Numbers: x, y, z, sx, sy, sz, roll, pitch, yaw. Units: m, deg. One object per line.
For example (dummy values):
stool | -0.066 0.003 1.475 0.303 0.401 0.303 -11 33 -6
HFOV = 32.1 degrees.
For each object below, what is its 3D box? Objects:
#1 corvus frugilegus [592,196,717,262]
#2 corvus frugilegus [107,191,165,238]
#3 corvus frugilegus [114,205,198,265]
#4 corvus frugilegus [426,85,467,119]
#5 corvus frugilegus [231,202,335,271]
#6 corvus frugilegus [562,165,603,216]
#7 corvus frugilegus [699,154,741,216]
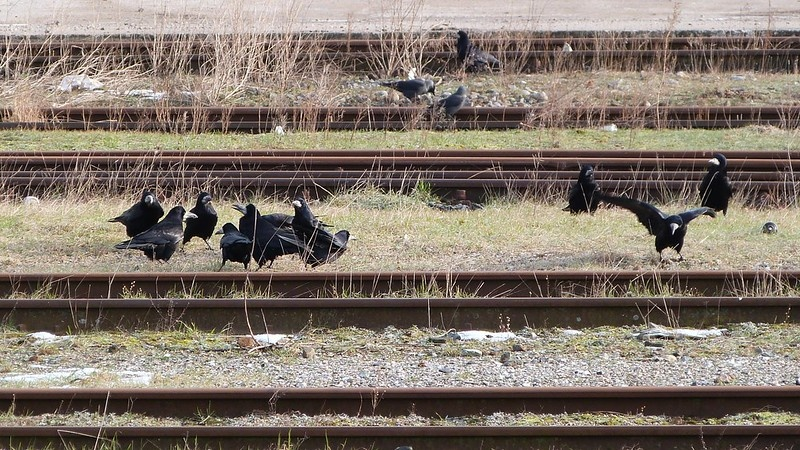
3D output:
corvus frugilegus | 4.753 0.037 25.337 1.837 1.272 0.801 0 17 8
corvus frugilegus | -4.858 -0.228 26.076 0.607 0.806 1.072 14 2 -23
corvus frugilegus | -4.437 0.193 25.585 1.514 1.002 0.567 -11 19 -30
corvus frugilegus | 1.226 -2.804 30.824 0.963 0.652 0.404 8 18 27
corvus frugilegus | -2.432 0.182 25.419 1.623 1.058 0.658 5 9 -17
corvus frugilegus | 3.526 -0.684 26.997 0.694 0.998 0.517 -1 17 5
corvus frugilegus | 6.149 -0.803 27.067 0.604 1.224 0.507 0 17 9
